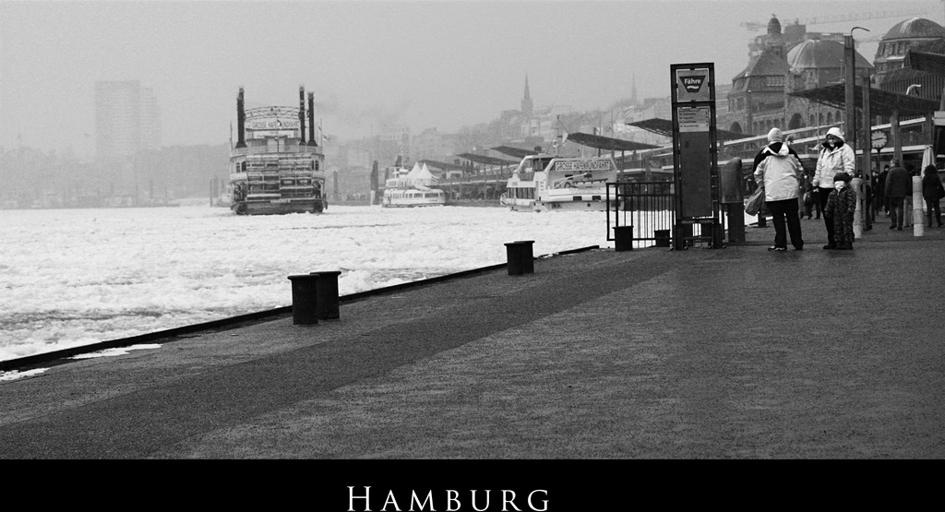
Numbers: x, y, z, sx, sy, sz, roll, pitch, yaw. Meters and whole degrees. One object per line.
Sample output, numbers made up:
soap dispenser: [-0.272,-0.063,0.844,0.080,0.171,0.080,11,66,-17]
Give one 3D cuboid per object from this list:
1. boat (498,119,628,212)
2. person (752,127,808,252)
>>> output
boat: [9.056,-7.161,97.527,6.183,5.285,15.971,0,5,-11]
person: [6.541,-1.429,20.946,1.106,2.685,1.301,0,1,23]
